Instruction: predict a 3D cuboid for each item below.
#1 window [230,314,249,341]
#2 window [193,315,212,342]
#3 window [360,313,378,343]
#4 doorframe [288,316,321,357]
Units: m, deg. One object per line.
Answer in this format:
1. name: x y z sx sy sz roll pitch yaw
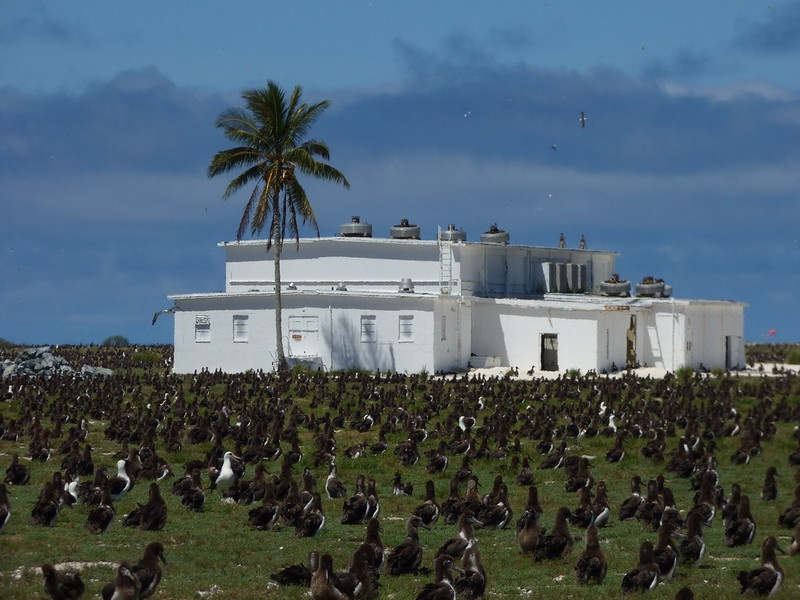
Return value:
1. window: -7.793 1.316 77.878 1.079 2.116 0.252 0 1 19
2. window: -9.632 1.404 78.948 1.071 1.379 0.928 -1 3 -20
3. window: -1.519 1.408 75.771 0.836 1.329 0.147 -4 -6 23
4. doorframe: -4.554 1.823 76.855 1.638 2.425 0.080 0 -2 10
